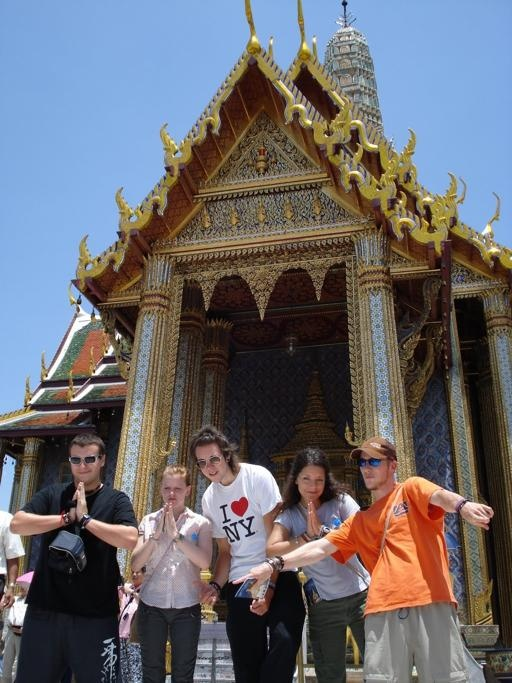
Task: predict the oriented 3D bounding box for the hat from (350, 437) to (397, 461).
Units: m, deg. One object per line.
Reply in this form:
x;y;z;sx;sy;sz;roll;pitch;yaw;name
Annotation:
0.506;0.462;2.901;0.156;0.079;0.107;25;-24;-34;hat

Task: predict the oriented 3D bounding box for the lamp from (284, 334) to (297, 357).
0.506;0.048;10.264;0.201;0.311;0.199;-13;-36;25;lamp
